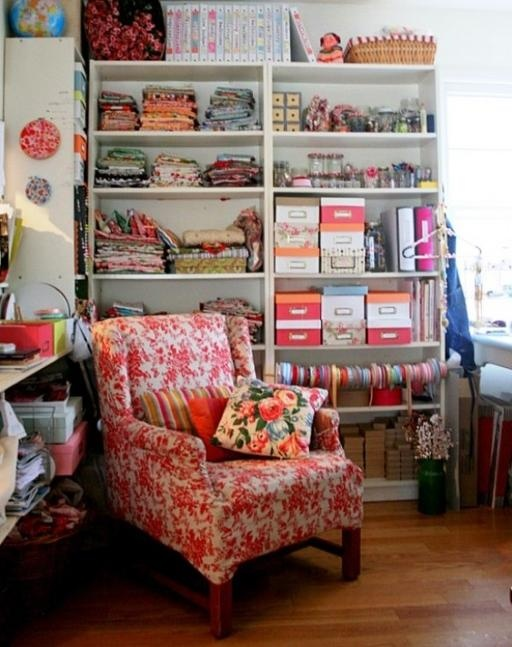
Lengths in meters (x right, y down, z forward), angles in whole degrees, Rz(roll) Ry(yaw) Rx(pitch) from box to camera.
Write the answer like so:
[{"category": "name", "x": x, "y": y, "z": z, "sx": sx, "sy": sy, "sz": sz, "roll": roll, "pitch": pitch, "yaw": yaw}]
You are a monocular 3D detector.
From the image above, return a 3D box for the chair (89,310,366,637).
[{"category": "chair", "x": -0.129, "y": 0.455, "z": 2.057, "sx": 0.674, "sy": 0.909, "sz": 0.820, "roll": -3, "pitch": 3, "yaw": -40}]

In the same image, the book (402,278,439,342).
[{"category": "book", "x": 0.838, "y": -0.067, "z": 2.841, "sx": 0.174, "sy": 0.284, "sz": 0.306, "roll": -2, "pitch": 5, "yaw": 2}]

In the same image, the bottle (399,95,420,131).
[{"category": "bottle", "x": 0.782, "y": -1.056, "z": 2.823, "sx": 0.103, "sy": 0.186, "sz": 0.080, "roll": 1, "pitch": 3, "yaw": 13}]

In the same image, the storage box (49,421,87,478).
[{"category": "storage box", "x": -0.700, "y": 0.454, "z": 2.047, "sx": 0.098, "sy": 0.098, "sz": 0.303, "roll": 0, "pitch": 2, "yaw": -7}]

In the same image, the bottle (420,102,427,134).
[{"category": "bottle", "x": 0.847, "y": -1.017, "z": 2.800, "sx": 0.038, "sy": 0.128, "sz": 0.042, "roll": 0, "pitch": 3, "yaw": -6}]

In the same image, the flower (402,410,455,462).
[{"category": "flower", "x": 0.865, "y": 0.542, "z": 2.777, "sx": 0.198, "sy": 0.151, "sz": 0.262, "roll": -1, "pitch": 14, "yaw": 0}]

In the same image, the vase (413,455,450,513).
[{"category": "vase", "x": 0.845, "y": 0.781, "z": 2.675, "sx": 0.119, "sy": 0.254, "sz": 0.104, "roll": 1, "pitch": 3, "yaw": 12}]

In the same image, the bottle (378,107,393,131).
[{"category": "bottle", "x": 0.657, "y": -1.020, "z": 2.790, "sx": 0.079, "sy": 0.133, "sz": 0.051, "roll": 0, "pitch": 3, "yaw": -2}]

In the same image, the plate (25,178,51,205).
[{"category": "plate", "x": -0.925, "y": -0.564, "z": 2.358, "sx": 0.107, "sy": 0.124, "sz": 0.021, "roll": 0, "pitch": 3, "yaw": 3}]
